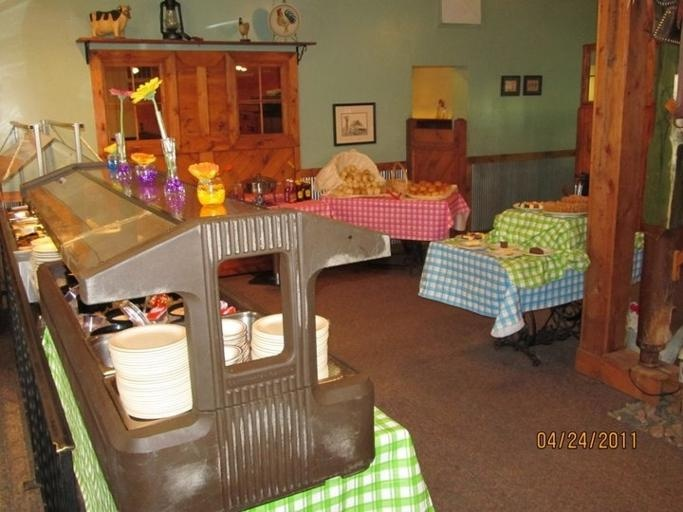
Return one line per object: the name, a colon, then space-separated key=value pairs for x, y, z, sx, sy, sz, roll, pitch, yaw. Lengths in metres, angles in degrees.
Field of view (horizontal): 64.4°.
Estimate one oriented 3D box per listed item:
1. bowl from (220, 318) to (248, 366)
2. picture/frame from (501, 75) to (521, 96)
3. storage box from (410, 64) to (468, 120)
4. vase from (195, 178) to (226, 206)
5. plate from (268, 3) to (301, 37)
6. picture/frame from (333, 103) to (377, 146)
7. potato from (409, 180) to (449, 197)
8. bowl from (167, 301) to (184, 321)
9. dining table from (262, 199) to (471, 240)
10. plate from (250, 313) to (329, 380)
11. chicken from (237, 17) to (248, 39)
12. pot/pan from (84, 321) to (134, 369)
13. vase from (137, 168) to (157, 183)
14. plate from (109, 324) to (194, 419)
bowl: x=-0.366 y=0.291 z=1.841 sx=0.144 sy=0.060 sz=0.156 roll=0 pitch=22 yaw=0
picture/frame: x=2.661 y=-2.701 z=8.584 sx=0.357 sy=0.343 sz=0.028 roll=-3 pitch=20 yaw=-23
storage box: x=2.357 y=-3.801 z=12.465 sx=1.343 sy=1.203 sz=0.779 roll=5 pitch=31 yaw=21
vase: x=-0.505 y=-0.243 z=2.126 sx=0.124 sy=0.115 sz=0.121 roll=-2 pitch=12 yaw=-5
plate: x=-0.767 y=-3.005 z=6.908 sx=0.499 sy=0.542 sz=0.216 roll=-3 pitch=10 yaw=-13
picture/frame: x=0.152 y=-1.898 z=7.771 sx=0.645 sy=0.525 sz=0.047 roll=-5 pitch=11 yaw=-24
potato: x=1.016 y=-0.783 z=6.320 sx=0.490 sy=0.134 sz=0.279 roll=-1 pitch=18 yaw=6
bowl: x=-0.769 y=0.247 z=2.480 sx=0.069 sy=0.037 sz=0.210 roll=-10 pitch=19 yaw=-19
dining table: x=0.290 y=-0.321 z=4.457 sx=0.978 sy=0.218 sz=0.581 roll=5 pitch=18 yaw=16
plate: x=-0.176 y=0.249 z=1.748 sx=0.229 sy=0.230 sz=0.223 roll=3 pitch=21 yaw=7
chicken: x=-1.257 y=-2.889 z=6.888 sx=0.154 sy=0.268 sz=0.231 roll=-7 pitch=19 yaw=-8
pot/pan: x=-0.993 y=0.364 z=2.310 sx=0.226 sy=0.104 sz=0.219 roll=-3 pitch=17 yaw=-6
vase: x=-1.067 y=-0.431 z=2.934 sx=0.095 sy=0.071 sz=0.098 roll=-2 pitch=8 yaw=-9
plate: x=-0.571 y=0.354 z=1.667 sx=0.265 sy=0.202 sz=0.280 roll=-3 pitch=19 yaw=-4
